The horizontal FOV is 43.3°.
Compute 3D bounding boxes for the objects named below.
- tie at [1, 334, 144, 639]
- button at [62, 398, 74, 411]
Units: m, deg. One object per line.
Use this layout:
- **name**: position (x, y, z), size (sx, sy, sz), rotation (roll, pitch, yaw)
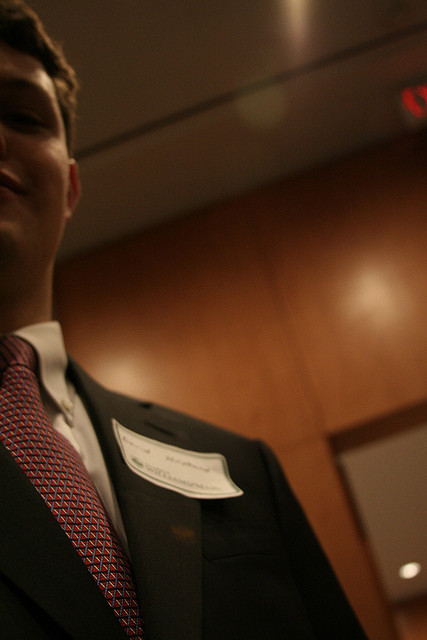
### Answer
- **tie**: position (-0.175, 0.119, 0.627), size (0.087, 0.076, 0.442), rotation (-40, 41, 16)
- **button**: position (-0.193, 0.112, 0.721), size (0.004, 0.015, 0.012), rotation (-39, -20, 3)
